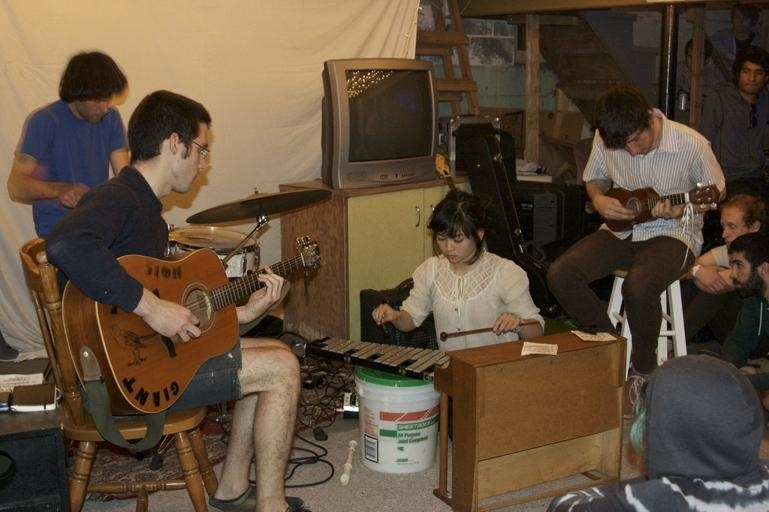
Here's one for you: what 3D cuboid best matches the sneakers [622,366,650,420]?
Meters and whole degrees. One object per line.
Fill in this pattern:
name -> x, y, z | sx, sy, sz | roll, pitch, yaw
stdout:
sneakers -> 1.529, 0.821, 3.857 | 0.175, 0.253, 0.182 | 19, -21, -15

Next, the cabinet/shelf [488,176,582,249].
cabinet/shelf -> 1.340, -0.531, 5.751 | 0.763, 0.767, 0.770 | -18, 23, -41

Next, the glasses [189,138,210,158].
glasses -> -0.795, -0.466, 2.709 | 0.059, 0.018, 0.058 | 33, 10, 11

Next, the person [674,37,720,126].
person -> 3.527, -1.978, 7.193 | 0.529, 0.875, 0.452 | -1, 4, -36

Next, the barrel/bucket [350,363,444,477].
barrel/bucket -> 0.065, 0.843, 3.437 | 0.515, 0.508, 0.502 | -1, 7, 0

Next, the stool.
stool -> 1.601, 0.439, 3.893 | 0.576, 0.760, 0.592 | -4, 1, 27

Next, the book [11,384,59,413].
book -> -1.471, 0.599, 2.651 | 0.121, 0.032, 0.120 | 1, 15, -6

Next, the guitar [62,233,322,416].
guitar -> -0.786, 0.164, 2.812 | 0.194, 0.617, 1.185 | -10, 15, 42

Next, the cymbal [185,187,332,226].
cymbal -> -0.704, -0.288, 3.624 | 0.417, 0.089, 0.410 | -15, 0, -41

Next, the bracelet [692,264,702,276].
bracelet -> 1.934, 0.086, 3.932 | 0.022, 0.085, 0.062 | 25, -4, -21

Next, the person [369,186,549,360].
person -> 0.378, 0.117, 3.295 | 0.849, 0.867, 0.462 | -1, 16, 14

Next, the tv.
tv -> -0.069, -0.919, 4.785 | 0.854, 0.833, 0.496 | -7, 1, -30

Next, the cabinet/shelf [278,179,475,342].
cabinet/shelf -> -0.180, 0.006, 4.998 | 0.676, 1.106, 1.174 | 5, 10, 39
